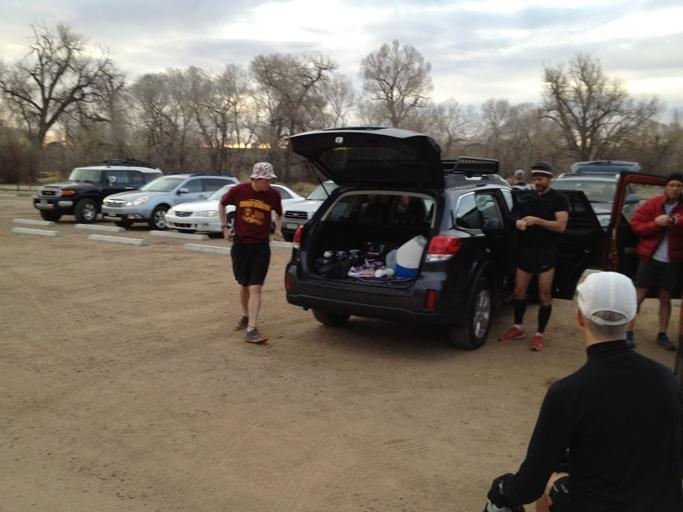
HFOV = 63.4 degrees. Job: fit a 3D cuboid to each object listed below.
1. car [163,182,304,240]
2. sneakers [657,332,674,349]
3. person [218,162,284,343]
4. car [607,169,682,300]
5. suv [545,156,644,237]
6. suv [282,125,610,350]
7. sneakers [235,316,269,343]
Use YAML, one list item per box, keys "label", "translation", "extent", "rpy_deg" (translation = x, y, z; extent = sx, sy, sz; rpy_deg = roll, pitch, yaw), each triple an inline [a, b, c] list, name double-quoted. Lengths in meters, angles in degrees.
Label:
- label: "car"
  translation: [-2.470, -1.213, 15.156]
  extent: [4.233, 1.008, 1.647]
  rpy_deg: [-1, 4, -30]
- label: "sneakers"
  translation: [3.792, 0.997, 6.493]
  extent: [0.117, 0.100, 0.297]
  rpy_deg: [-16, 16, -19]
- label: "person"
  translation: [-0.964, -0.038, 6.405]
  extent: [0.721, 2.027, 0.735]
  rpy_deg: [-5, 11, -15]
- label: "car"
  translation: [3.442, -0.287, 6.775]
  extent: [1.101, 1.395, 0.996]
  rpy_deg: [11, 13, 18]
- label: "suv"
  translation: [5.523, -1.424, 12.058]
  extent: [1.692, 1.267, 2.894]
  rpy_deg: [11, 1, 25]
- label: "suv"
  translation: [1.273, -0.333, 6.883]
  extent: [3.276, 1.415, 3.553]
  rpy_deg: [8, 16, 36]
- label: "sneakers"
  translation: [-1.059, 0.877, 6.499]
  extent: [0.579, 0.204, 0.196]
  rpy_deg: [9, 10, 41]
